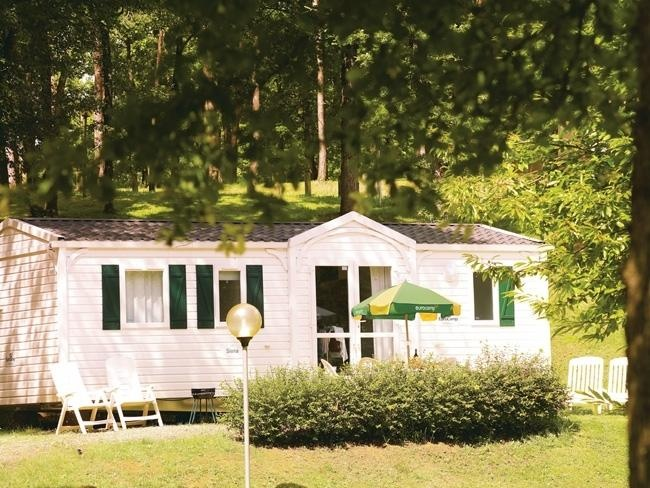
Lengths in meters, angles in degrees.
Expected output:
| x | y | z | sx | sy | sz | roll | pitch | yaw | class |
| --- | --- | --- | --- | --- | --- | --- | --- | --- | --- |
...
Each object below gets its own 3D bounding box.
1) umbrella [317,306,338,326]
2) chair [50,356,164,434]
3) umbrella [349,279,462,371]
| x | y | z | sx | sy | sz | roll | pitch | yaw | class |
| --- | --- | --- | --- | --- | --- | --- | --- | --- | --- |
| -0.015 | 1.807 | 35.243 | 0.505 | 0.224 | 0.496 | 2 | 5 | 23 | umbrella |
| -4.845 | 3.276 | 31.273 | 2.419 | 1.558 | 2.539 | -1 | -5 | -14 | chair |
| 1.809 | 1.844 | 30.468 | 1.773 | 1.426 | 1.950 | -4 | 1 | -14 | umbrella |
